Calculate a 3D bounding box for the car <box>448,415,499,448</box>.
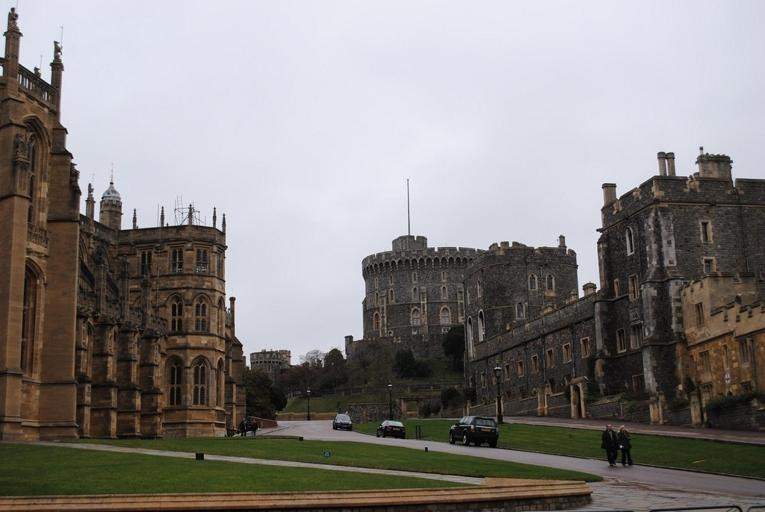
[{"bbox_3d":[5.578,10.754,65.538,1.630,1.180,3.098,5,-7,-16],"label":"car"}]
